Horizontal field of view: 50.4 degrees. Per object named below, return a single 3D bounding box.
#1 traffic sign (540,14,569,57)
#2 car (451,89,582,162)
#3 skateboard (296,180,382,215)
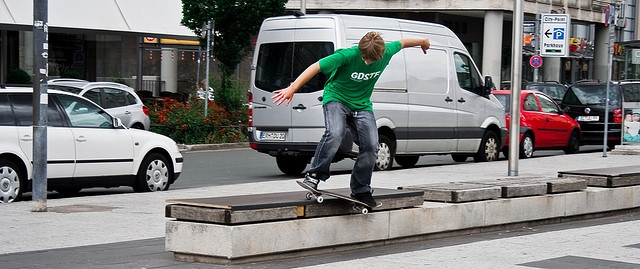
[{"bbox_3d":[10.140,-4.302,29.471,1.219,1.756,1.929,5,14,16],"label":"traffic sign"},{"bbox_3d":[8.956,-0.559,30.542,5.531,2.252,3.037,-5,4,-38],"label":"car"},{"bbox_3d":[0.485,1.728,18.315,2.022,0.265,0.438,16,25,-17],"label":"skateboard"}]
